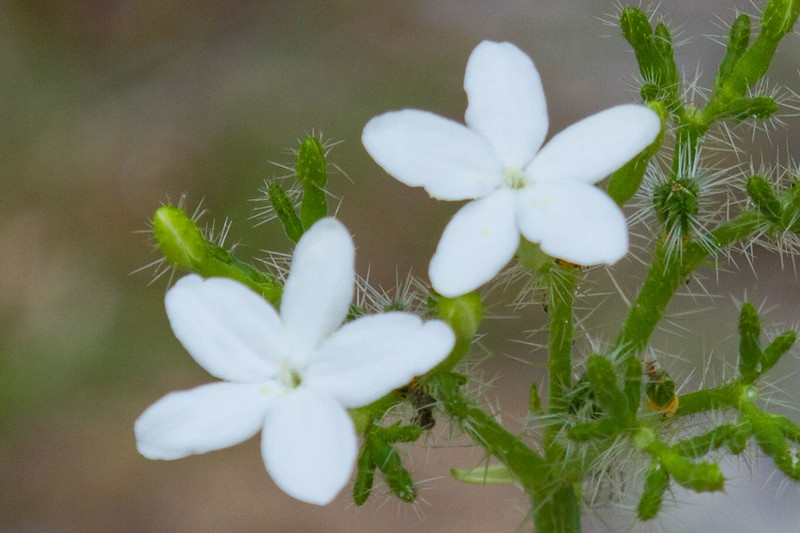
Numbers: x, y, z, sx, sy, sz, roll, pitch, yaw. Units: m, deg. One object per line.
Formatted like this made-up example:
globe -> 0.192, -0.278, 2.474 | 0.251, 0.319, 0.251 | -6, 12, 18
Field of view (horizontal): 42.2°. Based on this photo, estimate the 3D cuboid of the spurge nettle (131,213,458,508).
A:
spurge nettle -> -0.164, 0.160, 1.634 | 0.467, 0.453, 0.147 | -31, -6, 3
